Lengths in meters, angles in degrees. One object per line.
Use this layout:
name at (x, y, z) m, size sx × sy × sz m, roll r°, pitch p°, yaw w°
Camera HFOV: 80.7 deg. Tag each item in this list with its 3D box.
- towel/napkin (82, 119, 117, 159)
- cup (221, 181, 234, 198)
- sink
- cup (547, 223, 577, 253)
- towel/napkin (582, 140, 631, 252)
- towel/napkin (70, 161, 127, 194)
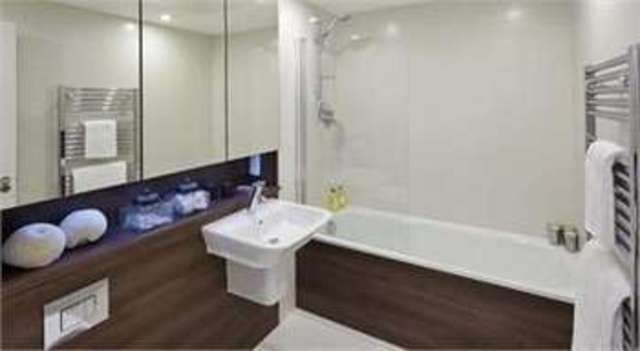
towel/napkin at (-1.529, -0.253, 2.576) m, size 0.284 × 0.341 × 0.053 m, roll -4°, pitch 10°, yaw -39°
cup at (-0.830, 0.127, 3.411) m, size 0.133 × 0.136 × 0.135 m, roll 2°, pitch 11°, yaw 0°
sink at (-0.377, 0.503, 3.248) m, size 0.788 × 0.241 × 0.909 m, roll 9°, pitch 17°, yaw 32°
cup at (2.349, 0.583, 3.630) m, size 0.218 × 0.236 × 0.340 m, roll -2°, pitch 4°, yaw -4°
towel/napkin at (1.784, 0.091, 2.417) m, size 0.198 × 0.553 × 0.434 m, roll -1°, pitch 9°, yaw 4°
towel/napkin at (-1.549, 0.001, 2.598) m, size 0.248 × 0.122 × 0.042 m, roll -10°, pitch 21°, yaw -41°
